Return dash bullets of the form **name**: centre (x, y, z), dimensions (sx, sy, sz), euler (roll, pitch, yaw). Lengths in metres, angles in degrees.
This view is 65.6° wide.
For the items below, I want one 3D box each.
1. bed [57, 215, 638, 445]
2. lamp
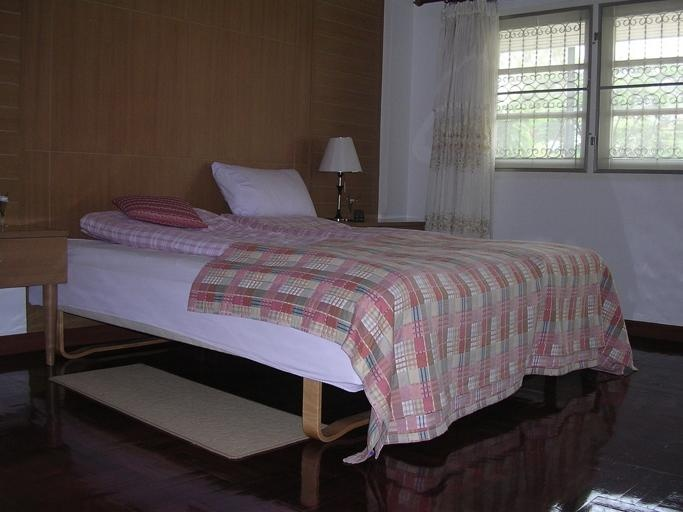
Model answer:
- **bed**: centre (-0.209, 0.220, 2.498), dimensions (1.636, 0.564, 1.525), euler (6, 7, 38)
- **lamp**: centre (0.010, -0.689, 4.778), dimensions (0.379, 0.748, 0.443), euler (-2, 7, -34)
